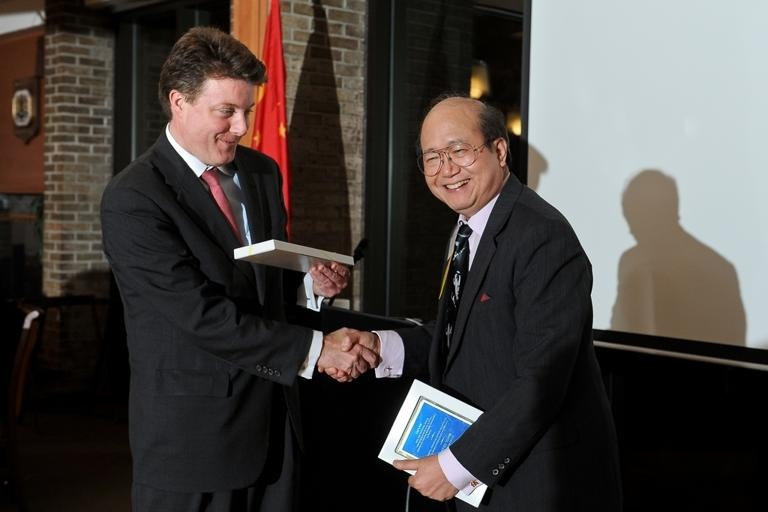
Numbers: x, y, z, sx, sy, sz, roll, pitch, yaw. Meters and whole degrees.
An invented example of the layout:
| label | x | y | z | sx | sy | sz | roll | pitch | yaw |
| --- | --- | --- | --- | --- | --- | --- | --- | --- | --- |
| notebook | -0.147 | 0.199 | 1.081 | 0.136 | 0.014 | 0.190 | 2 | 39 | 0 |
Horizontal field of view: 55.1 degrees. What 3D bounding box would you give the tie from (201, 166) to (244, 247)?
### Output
| label | x | y | z | sx | sy | sz | roll | pitch | yaw |
| --- | --- | --- | --- | --- | --- | --- | --- | --- | --- |
| tie | -0.698 | -0.239 | 3.096 | 0.107 | 0.397 | 0.047 | -16 | -13 | -34 |
